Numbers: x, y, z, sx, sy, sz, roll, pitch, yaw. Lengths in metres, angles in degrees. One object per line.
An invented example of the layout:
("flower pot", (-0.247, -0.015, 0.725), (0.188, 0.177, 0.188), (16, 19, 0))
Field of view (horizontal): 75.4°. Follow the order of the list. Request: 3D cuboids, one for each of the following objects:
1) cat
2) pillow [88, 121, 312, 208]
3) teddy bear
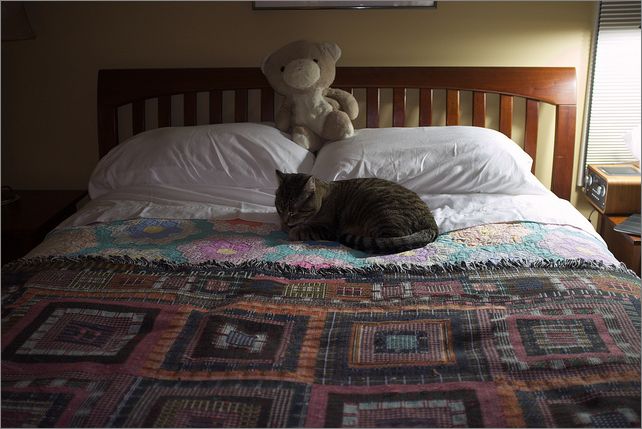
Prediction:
("cat", (0.130, -0.020, 1.645), (0.568, 0.206, 0.353), (2, 7, 0))
("pillow", (-0.630, -0.322, 2.296), (1.123, 0.222, 0.727), (-2, 24, 14))
("teddy bear", (-0.068, -0.684, 2.325), (0.533, 0.553, 0.429), (-14, 16, 2))
